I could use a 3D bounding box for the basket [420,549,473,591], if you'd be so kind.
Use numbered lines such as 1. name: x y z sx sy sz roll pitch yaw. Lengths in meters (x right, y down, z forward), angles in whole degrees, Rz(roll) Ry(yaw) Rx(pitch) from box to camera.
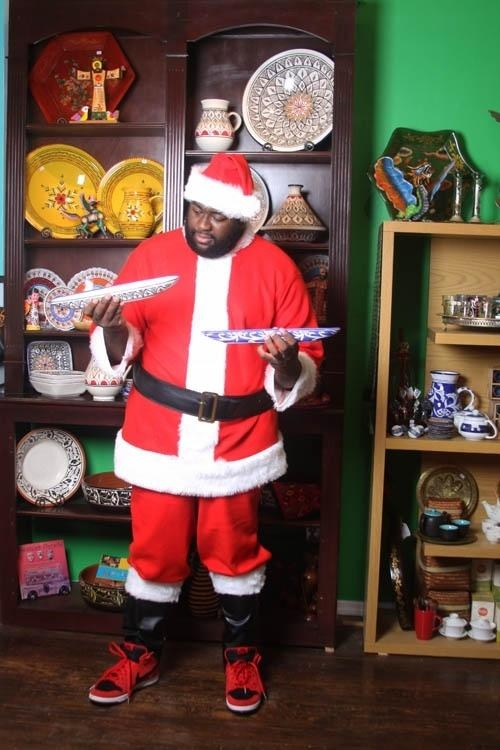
1. basket: 0.629 0.639 2.114 0.168 0.118 0.131 3 3 24

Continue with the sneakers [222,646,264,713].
1. sneakers: -0.012 0.796 1.673 0.068 0.066 0.175 1 -6 -1

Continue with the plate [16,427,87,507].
1. plate: -0.643 0.297 2.174 0.253 0.230 0.040 -2 -4 -43

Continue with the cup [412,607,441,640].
1. cup: 0.559 0.774 2.043 0.081 0.103 0.065 2 3 2

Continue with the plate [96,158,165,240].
1. plate: -0.412 -0.587 2.143 0.306 0.275 0.088 -3 -7 5

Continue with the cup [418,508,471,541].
1. cup: 0.593 0.460 2.006 0.140 0.057 0.081 3 -4 -34

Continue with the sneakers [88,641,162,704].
1. sneakers: -0.324 0.789 1.739 0.096 0.095 0.218 4 -8 23

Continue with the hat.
1. hat: -0.050 -0.426 1.566 0.141 0.127 0.179 24 -1 17

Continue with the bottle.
1. bottle: 0.144 -0.483 2.033 0.205 0.158 0.197 1 7 0

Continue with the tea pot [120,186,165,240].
1. tea pot: -0.303 -0.534 2.139 0.204 0.177 0.125 5 10 21

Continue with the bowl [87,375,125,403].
1. bowl: -0.458 0.046 2.045 0.095 0.062 0.092 0 -6 0

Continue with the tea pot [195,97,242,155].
1. tea pot: -0.100 -0.804 2.117 0.144 0.215 0.178 2 3 -1

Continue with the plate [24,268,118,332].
1. plate: -0.680 -0.257 2.295 0.551 0.229 0.042 -3 -7 -1

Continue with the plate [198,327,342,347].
1. plate: 0.028 -0.084 1.405 0.355 0.046 0.060 -1 -2 -4

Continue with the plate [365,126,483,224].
1. plate: 0.574 -0.639 2.095 0.330 0.349 0.310 2 3 16

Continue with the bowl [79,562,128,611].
1. bowl: -0.480 0.690 2.112 0.131 0.054 0.125 6 -5 1

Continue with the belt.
1. belt: -0.122 0.041 1.600 0.362 0.134 0.188 2 3 1
